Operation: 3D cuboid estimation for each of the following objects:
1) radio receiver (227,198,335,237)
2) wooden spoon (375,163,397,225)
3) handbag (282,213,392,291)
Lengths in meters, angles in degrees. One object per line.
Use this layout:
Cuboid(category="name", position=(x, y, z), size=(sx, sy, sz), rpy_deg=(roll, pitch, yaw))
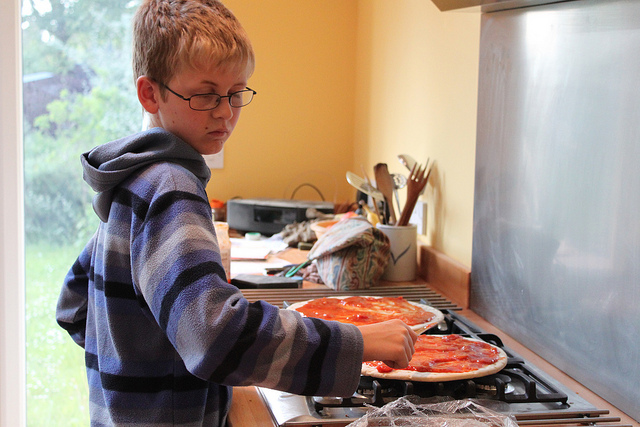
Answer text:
Cuboid(category="radio receiver", position=(-0.186, 0.034, 2.770), size=(0.602, 0.198, 0.197), rpy_deg=(5, 9, 23))
Cuboid(category="wooden spoon", position=(0.244, -0.077, 1.964), size=(0.058, 0.224, 0.109), rpy_deg=(-6, 10, 8))
Cuboid(category="handbag", position=(0.048, 0.139, 1.848), size=(0.318, 0.151, 0.273), rpy_deg=(-3, -1, 1))
